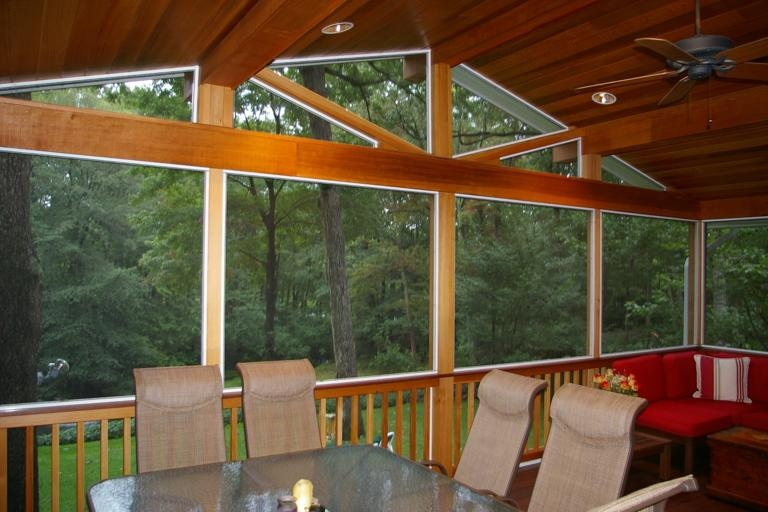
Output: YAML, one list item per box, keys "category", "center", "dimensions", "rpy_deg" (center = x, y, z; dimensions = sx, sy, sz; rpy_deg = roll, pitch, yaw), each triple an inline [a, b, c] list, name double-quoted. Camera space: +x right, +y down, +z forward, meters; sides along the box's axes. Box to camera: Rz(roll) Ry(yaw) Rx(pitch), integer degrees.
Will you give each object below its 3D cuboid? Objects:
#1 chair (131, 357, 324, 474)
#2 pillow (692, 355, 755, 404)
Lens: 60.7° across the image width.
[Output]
- category: "chair"
  center: [-1.621, 1.159, 5.986]
  dimensions: [1.212, 1.281, 0.888]
  rpy_deg: [0, -9, -23]
- category: "pillow"
  center: [4.361, 1.596, 8.358]
  dimensions: [0.462, 0.479, 0.178]
  rpy_deg: [-1, -28, 19]
